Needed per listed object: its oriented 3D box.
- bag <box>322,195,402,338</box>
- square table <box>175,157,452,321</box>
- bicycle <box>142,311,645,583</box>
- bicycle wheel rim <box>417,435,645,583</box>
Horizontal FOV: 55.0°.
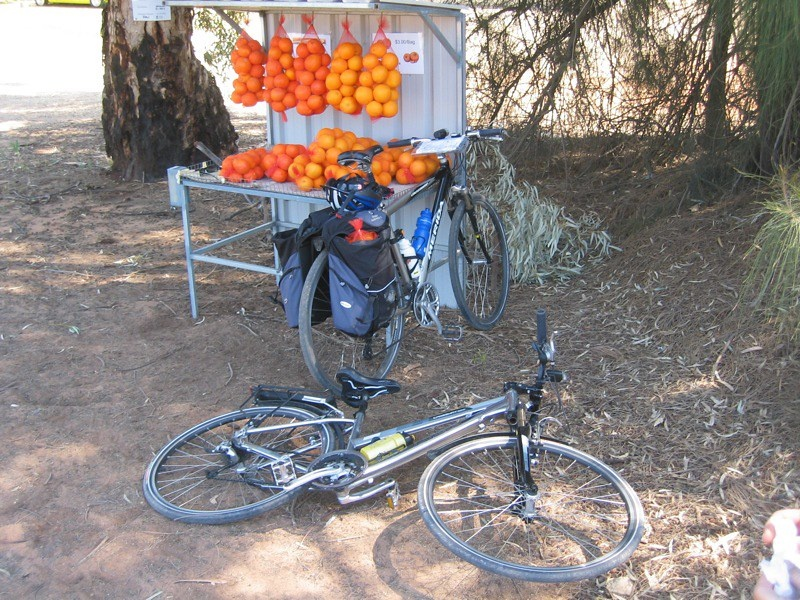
[{"bbox_3d":[-0.238,-0.218,4.703,0.520,0.884,0.647,7,24,16],"label":"bag"},{"bbox_3d":[-0.711,-0.723,5.999,2.417,1.280,1.325,7,23,16],"label":"square table"},{"bbox_3d":[0.006,0.868,4.405,2.604,1.245,1.237,2,19,14],"label":"bicycle"},{"bbox_3d":[0.697,1.008,4.014,1.114,0.622,0.979,6,21,15],"label":"bicycle wheel rim"}]
